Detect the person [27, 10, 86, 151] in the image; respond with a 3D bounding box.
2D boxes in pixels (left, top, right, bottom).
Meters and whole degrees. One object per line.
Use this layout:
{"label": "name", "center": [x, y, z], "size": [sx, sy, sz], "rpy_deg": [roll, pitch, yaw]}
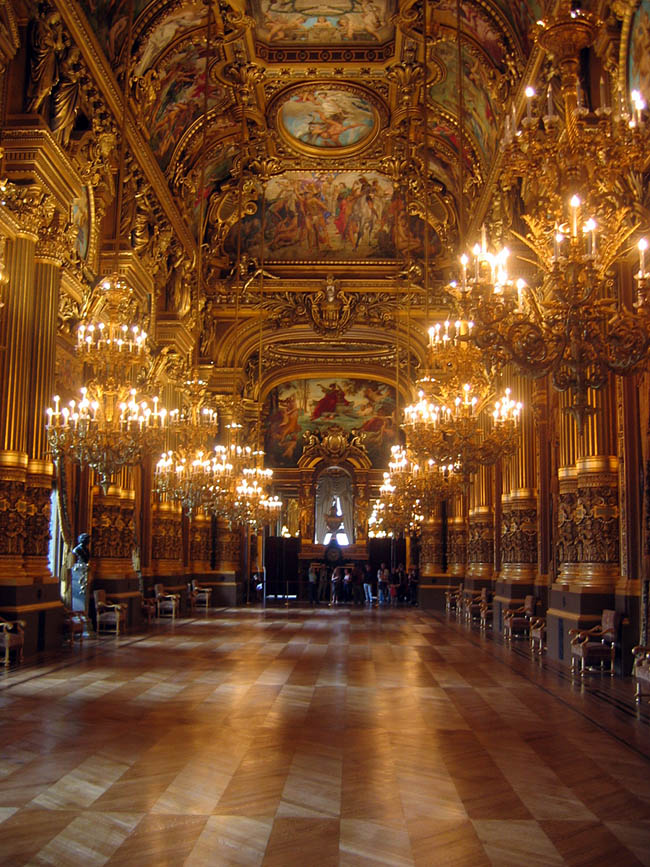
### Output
{"label": "person", "center": [-4.024, -5.268, 10.668], "size": [0.322, 1.657, 1.147], "rpy_deg": [-1, -8, 9]}
